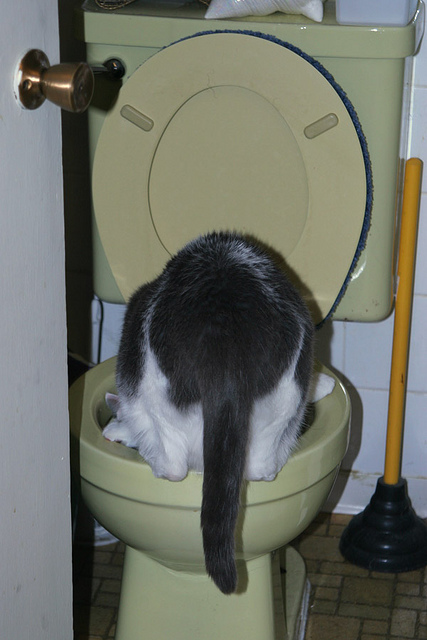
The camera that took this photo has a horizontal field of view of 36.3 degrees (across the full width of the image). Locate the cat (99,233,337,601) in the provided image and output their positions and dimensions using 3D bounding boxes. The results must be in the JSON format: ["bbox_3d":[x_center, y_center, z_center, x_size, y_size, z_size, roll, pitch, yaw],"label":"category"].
[{"bbox_3d":[0.003,0.091,0.827,0.317,0.253,0.411,-1,43,3],"label":"cat"}]

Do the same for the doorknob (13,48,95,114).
[{"bbox_3d":[-0.114,-0.174,0.472,0.042,0.043,0.055,1,15,8],"label":"doorknob"}]
